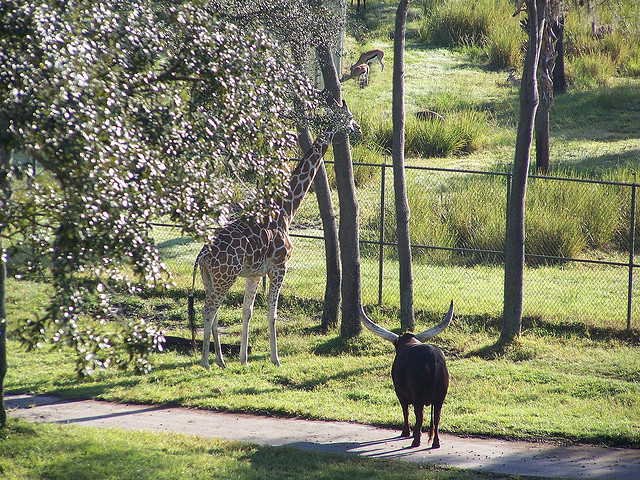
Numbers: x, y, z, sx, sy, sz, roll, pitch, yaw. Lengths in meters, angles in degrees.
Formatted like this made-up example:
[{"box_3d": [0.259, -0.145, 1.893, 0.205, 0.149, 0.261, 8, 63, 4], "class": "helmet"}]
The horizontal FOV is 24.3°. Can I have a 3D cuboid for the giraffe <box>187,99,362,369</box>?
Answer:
[{"box_3d": [-1.177, 0.303, 28.921, 2.749, 3.997, 1.475, -3, 1, -10], "class": "giraffe"}]

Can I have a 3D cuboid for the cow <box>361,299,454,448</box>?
[{"box_3d": [1.682, 2.448, 27.102, 1.359, 2.727, 2.848, 0, -1, -7], "class": "cow"}]
